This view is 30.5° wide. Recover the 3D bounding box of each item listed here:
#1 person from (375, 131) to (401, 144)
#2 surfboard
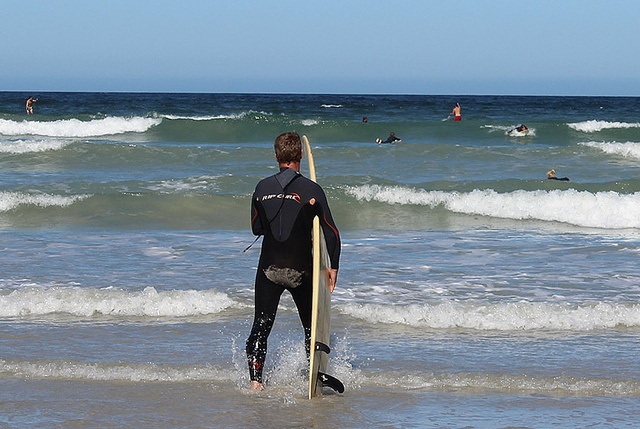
[{"bbox_3d":[2.150,-2.480,38.061,0.848,0.293,0.462,-2,3,15],"label":"person"},{"bbox_3d":[0.199,1.133,19.749,0.458,3.770,1.045,5,-10,-42],"label":"surfboard"}]
